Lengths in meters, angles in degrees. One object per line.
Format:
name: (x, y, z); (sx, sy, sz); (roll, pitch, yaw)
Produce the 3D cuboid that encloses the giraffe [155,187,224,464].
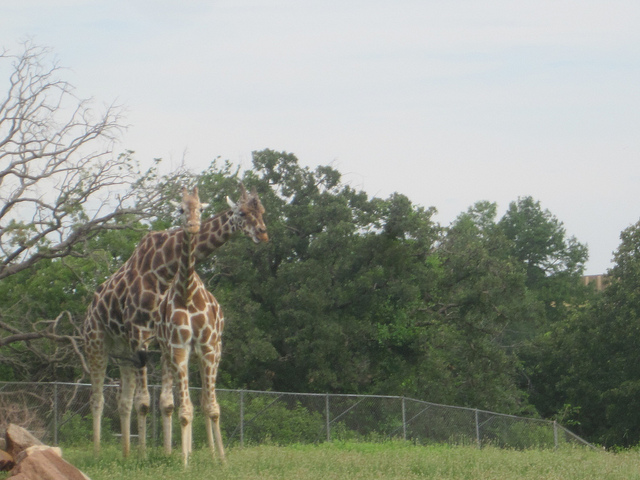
giraffe: (-3.937, 2.635, 39.928); (1.964, 8.161, 3.238); (2, -13, -5)
